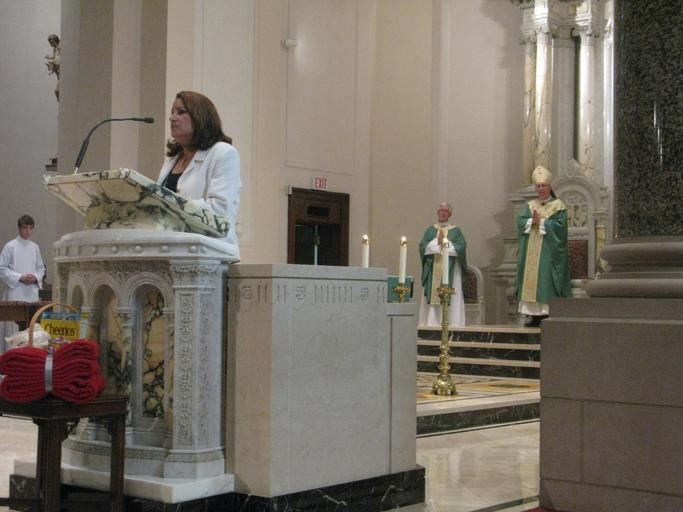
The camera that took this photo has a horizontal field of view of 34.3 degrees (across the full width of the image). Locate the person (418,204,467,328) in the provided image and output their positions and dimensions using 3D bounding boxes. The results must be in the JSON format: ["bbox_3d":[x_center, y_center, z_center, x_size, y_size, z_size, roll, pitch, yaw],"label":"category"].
[{"bbox_3d":[1.185,0.088,12.953,0.545,1.463,0.692,-1,-2,5],"label":"person"}]

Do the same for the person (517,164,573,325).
[{"bbox_3d":[2.263,-0.112,12.342,0.464,1.785,0.749,0,-2,-25],"label":"person"}]

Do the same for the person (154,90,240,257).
[{"bbox_3d":[-0.855,-0.498,6.482,0.506,0.928,0.440,-1,-2,7],"label":"person"}]
